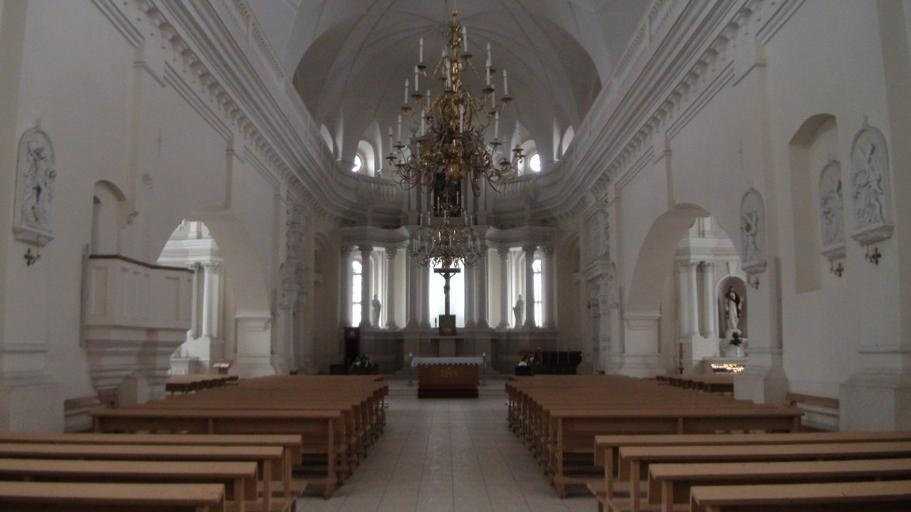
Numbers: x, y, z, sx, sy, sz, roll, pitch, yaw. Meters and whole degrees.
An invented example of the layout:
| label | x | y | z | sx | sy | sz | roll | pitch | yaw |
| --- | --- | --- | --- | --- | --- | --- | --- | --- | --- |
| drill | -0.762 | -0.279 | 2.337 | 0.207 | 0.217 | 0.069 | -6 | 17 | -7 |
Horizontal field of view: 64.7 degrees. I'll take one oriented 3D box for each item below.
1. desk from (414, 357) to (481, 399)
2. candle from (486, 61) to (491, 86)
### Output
| label | x | y | z | sx | sy | sz | roll | pitch | yaw |
| --- | --- | --- | --- | --- | --- | --- | --- | --- | --- |
| desk | -0.157 | 3.572 | 22.044 | 2.200 | 1.105 | 1.510 | -2 | 3 | 2 |
| candle | 0.658 | -3.598 | 14.128 | 0.068 | 0.498 | 0.292 | -3 | 2 | 4 |
